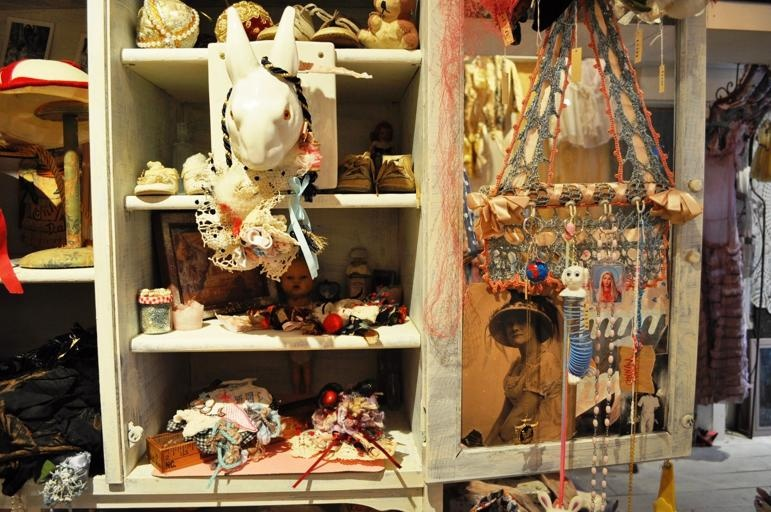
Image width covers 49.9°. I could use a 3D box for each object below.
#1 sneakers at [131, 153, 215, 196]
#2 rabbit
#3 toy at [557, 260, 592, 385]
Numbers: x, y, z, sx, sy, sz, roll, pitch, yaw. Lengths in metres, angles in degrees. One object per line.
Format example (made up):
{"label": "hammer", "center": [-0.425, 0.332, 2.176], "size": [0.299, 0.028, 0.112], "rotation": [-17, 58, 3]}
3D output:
{"label": "sneakers", "center": [-0.734, -0.282, 2.905], "size": [0.295, 0.145, 0.273], "rotation": [-2, 3, 1]}
{"label": "rabbit", "center": [-0.397, -0.546, 2.691], "size": [0.269, 0.524, 0.105], "rotation": [-3, 3, -8]}
{"label": "toy", "center": [0.657, 0.237, 2.830], "size": [0.122, 0.398, 0.127], "rotation": [0, -4, 3]}
